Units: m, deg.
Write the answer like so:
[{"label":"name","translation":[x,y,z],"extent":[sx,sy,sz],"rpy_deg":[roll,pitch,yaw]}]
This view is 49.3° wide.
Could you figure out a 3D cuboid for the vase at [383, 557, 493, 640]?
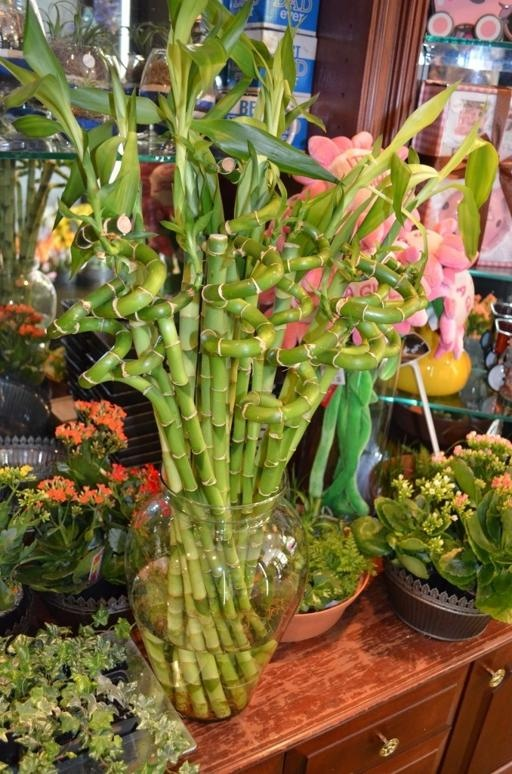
[{"label":"vase","translation":[0.248,0.294,0.762],"extent":[0.112,0.066,0.131],"rpy_deg":[15,2,28]}]

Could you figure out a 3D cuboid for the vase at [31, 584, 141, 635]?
[{"label":"vase","translation":[-0.210,0.247,0.656],"extent":[0.086,0.040,0.080],"rpy_deg":[2,-4,5]}]

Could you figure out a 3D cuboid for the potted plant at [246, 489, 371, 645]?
[{"label":"potted plant","translation":[0.085,0.226,0.677],"extent":[0.177,0.067,0.198],"rpy_deg":[6,22,3]}]
